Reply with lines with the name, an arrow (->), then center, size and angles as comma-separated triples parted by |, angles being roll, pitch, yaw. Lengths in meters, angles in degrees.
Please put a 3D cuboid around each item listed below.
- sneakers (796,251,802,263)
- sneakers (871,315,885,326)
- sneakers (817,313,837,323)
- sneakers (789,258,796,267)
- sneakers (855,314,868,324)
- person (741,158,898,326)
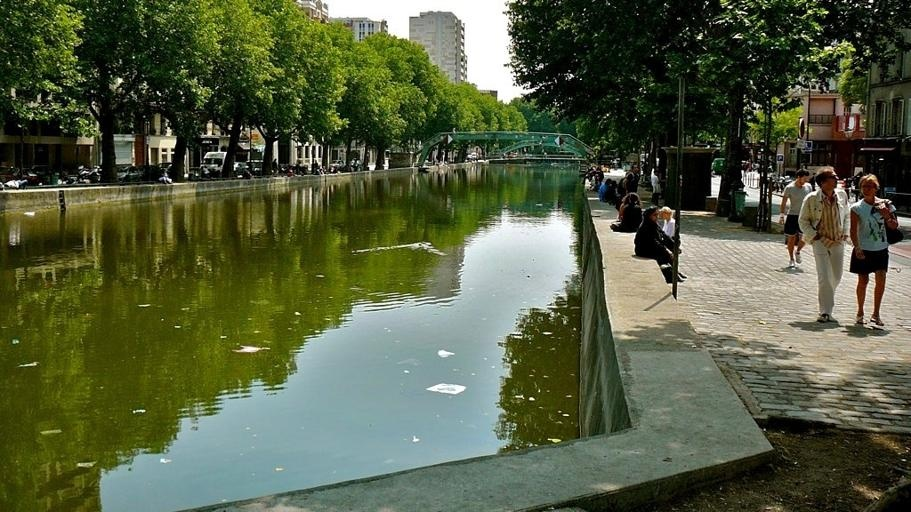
sneakers -> 9.169, 0.016, 20.278 | 0.128, 0.120, 0.330 | -5, 39, 14
sneakers -> 7.737, 1.171, 13.938 | 0.285, 0.102, 0.145 | -3, 11, -18
sneakers -> 6.922, 1.161, 14.185 | 0.145, 0.152, 0.402 | 6, 10, 41
sneakers -> 8.672, 0.160, 19.508 | 0.181, 0.078, 0.246 | 2, 26, 7
sneakers -> 7.506, 1.165, 14.053 | 0.157, 0.169, 0.258 | 2, 8, 32
person -> 7.363, -0.203, 14.214 | 1.556, 2.900, 1.167 | 4, 10, 39
